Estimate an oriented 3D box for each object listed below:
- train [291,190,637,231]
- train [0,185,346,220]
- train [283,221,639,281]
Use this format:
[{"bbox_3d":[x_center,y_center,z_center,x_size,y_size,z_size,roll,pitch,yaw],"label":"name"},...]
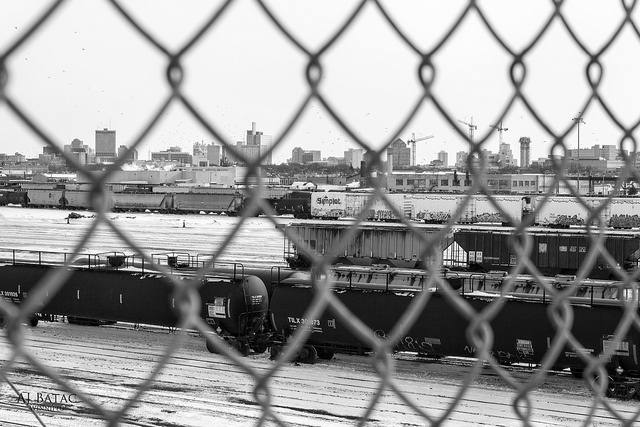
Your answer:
[{"bbox_3d":[3.232,-0.062,18.932,6.583,0.906,0.954,1,0,7],"label":"train"},{"bbox_3d":[-5.127,-0.376,31.730,11.332,1.524,1.403,1,3,10],"label":"train"},{"bbox_3d":[2.312,0.630,14.740,5.376,1.310,1.089,2,0,13],"label":"train"}]
